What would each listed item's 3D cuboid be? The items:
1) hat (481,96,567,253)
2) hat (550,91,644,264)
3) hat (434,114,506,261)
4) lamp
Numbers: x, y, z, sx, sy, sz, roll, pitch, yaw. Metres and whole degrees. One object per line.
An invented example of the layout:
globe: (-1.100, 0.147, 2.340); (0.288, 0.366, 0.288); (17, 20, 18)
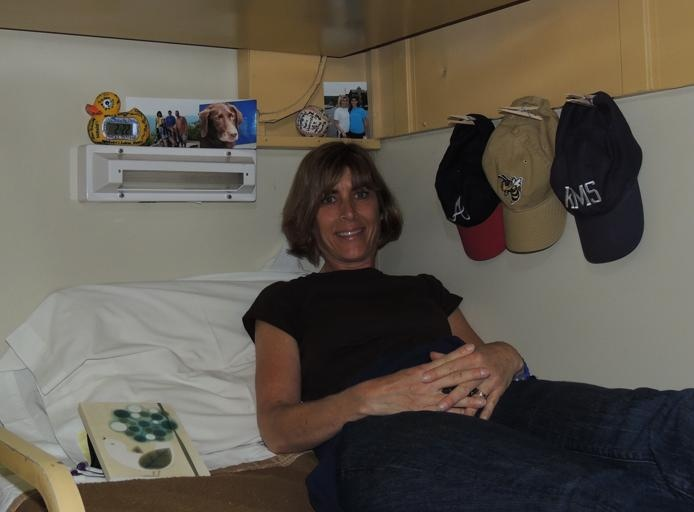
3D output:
hat: (0.546, -0.241, 1.798); (0.245, 0.462, 0.229); (4, 8, 35)
hat: (0.672, -0.219, 1.516); (0.241, 0.446, 0.126); (-8, 2, 38)
hat: (0.402, -0.214, 1.871); (0.138, 0.446, 0.270); (-14, 4, -35)
lamp: (-0.639, -0.290, 2.044); (0.621, 0.267, 0.140); (-13, 15, -28)
